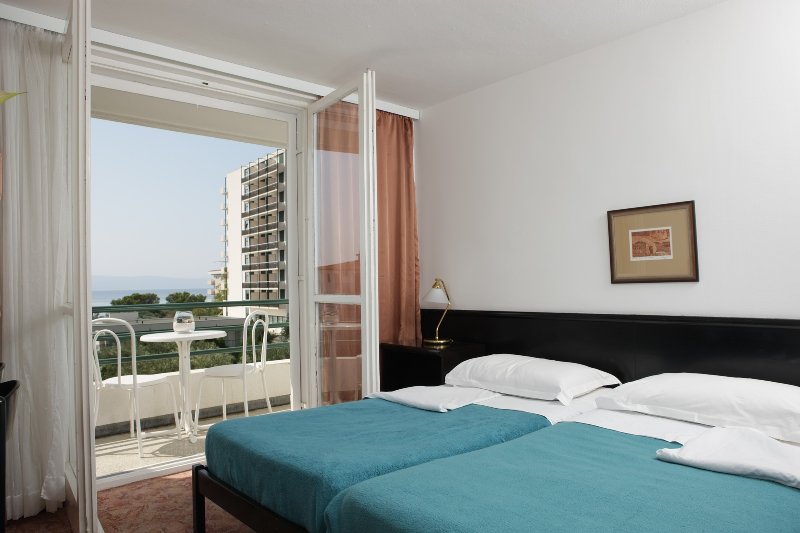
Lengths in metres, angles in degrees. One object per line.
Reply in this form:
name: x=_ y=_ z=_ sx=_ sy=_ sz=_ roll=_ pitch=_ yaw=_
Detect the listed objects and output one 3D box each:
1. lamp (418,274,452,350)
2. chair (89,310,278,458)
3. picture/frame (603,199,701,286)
lamp: x=0.346 y=0.400 z=4.692 sx=0.261 sy=0.611 sz=0.254 roll=3 pitch=-4 yaw=-7
chair: x=-1.907 y=1.062 z=4.698 sx=1.293 sy=0.839 sz=1.299 roll=1 pitch=1 yaw=44
picture/frame: x=1.847 y=-0.183 z=3.669 sx=0.651 sy=0.651 sz=0.055 roll=-3 pitch=-4 yaw=39
